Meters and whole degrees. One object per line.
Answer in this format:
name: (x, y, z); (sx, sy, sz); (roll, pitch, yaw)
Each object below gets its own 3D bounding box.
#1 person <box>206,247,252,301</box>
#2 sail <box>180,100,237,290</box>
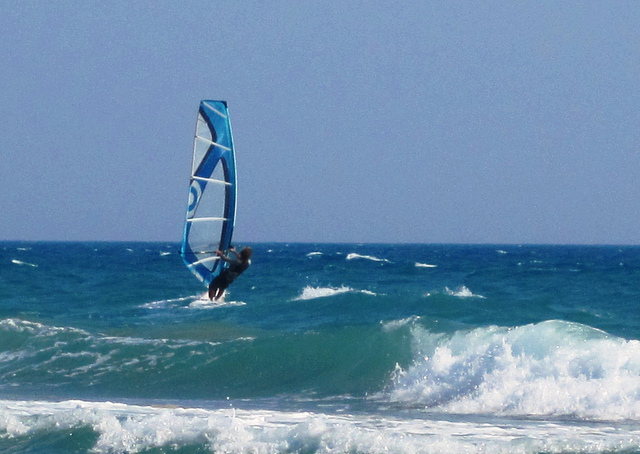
person: (-2.571, 1.306, 23.810); (1.463, 1.505, 0.446); (2, 4, 36)
sail: (-3.113, -0.981, 24.125); (1.346, 5.980, 0.630); (3, 38, -8)
